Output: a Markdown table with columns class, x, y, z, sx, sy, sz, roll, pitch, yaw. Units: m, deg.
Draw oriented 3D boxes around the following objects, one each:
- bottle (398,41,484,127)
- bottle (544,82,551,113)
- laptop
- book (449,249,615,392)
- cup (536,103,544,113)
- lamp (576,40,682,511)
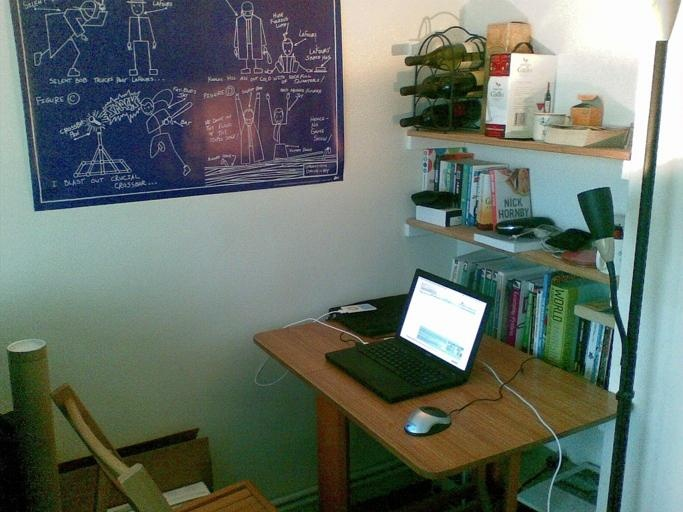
| class | x | y | z | sx | sy | sz | roll | pitch | yaw |
| --- | --- | --- | --- | --- | --- | --- | --- | --- | --- |
| bottle | 0.489 | -0.815 | 2.695 | 0.485 | 0.446 | 0.357 | -9 | 16 | -30 |
| bottle | 0.861 | -0.663 | 2.303 | 0.026 | 0.118 | 0.078 | 6 | 19 | 27 |
| laptop | 0.239 | 0.277 | 2.067 | 0.511 | 0.305 | 0.500 | -11 | 17 | -36 |
| book | 0.763 | 0.270 | 2.159 | 0.176 | 0.261 | 0.487 | 1 | 16 | -29 |
| cup | 0.826 | -0.614 | 2.298 | 0.034 | 0.038 | 0.034 | 1 | -2 | 0 |
| lamp | 0.841 | 0.090 | 1.589 | 0.274 | 1.331 | 0.226 | -11 | 19 | -23 |
